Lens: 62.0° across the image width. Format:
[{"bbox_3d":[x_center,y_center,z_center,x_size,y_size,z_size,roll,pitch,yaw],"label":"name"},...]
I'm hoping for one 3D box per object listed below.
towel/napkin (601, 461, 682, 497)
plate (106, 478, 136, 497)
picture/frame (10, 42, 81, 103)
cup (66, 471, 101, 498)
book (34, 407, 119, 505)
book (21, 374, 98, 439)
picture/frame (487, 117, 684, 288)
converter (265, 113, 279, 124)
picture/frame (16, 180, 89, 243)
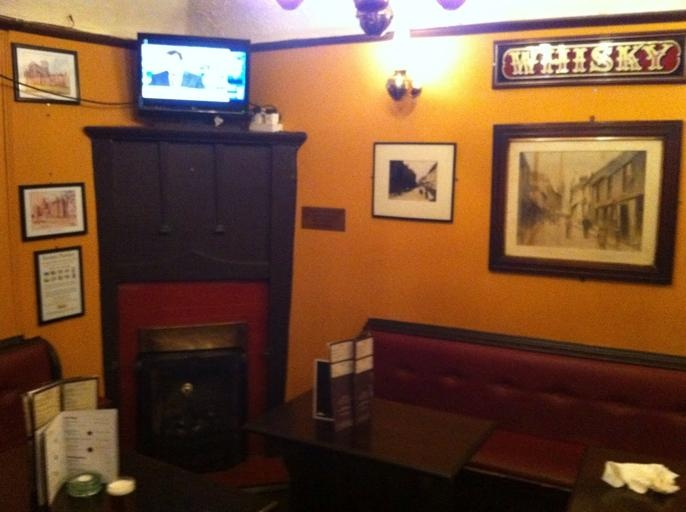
[{"bbox_3d":[1.496,1.110,2.877,0.225,0.077,0.170,-7,3,24],"label":"towel/napkin"},{"bbox_3d":[-1.081,1.127,2.773,0.130,0.048,0.085,-2,12,-12],"label":"plate"},{"bbox_3d":[-2.175,-1.331,4.116,0.021,0.434,0.515,0,3,39],"label":"picture/frame"},{"bbox_3d":[-1.260,1.112,2.767,0.164,0.081,0.093,3,12,7],"label":"cup"},{"bbox_3d":[-1.252,0.915,2.823,0.408,0.521,0.350,0,6,-6],"label":"book"},{"bbox_3d":[-1.367,0.731,2.804,0.271,0.222,0.211,-6,6,-38],"label":"book"},{"bbox_3d":[1.755,-0.405,4.012,1.185,1.147,0.082,3,9,23],"label":"picture/frame"},{"bbox_3d":[-0.576,-1.112,4.626,0.111,0.085,0.110,3,8,-5],"label":"converter"},{"bbox_3d":[-2.168,-0.334,4.202,0.034,0.393,0.460,2,5,39],"label":"picture/frame"}]
